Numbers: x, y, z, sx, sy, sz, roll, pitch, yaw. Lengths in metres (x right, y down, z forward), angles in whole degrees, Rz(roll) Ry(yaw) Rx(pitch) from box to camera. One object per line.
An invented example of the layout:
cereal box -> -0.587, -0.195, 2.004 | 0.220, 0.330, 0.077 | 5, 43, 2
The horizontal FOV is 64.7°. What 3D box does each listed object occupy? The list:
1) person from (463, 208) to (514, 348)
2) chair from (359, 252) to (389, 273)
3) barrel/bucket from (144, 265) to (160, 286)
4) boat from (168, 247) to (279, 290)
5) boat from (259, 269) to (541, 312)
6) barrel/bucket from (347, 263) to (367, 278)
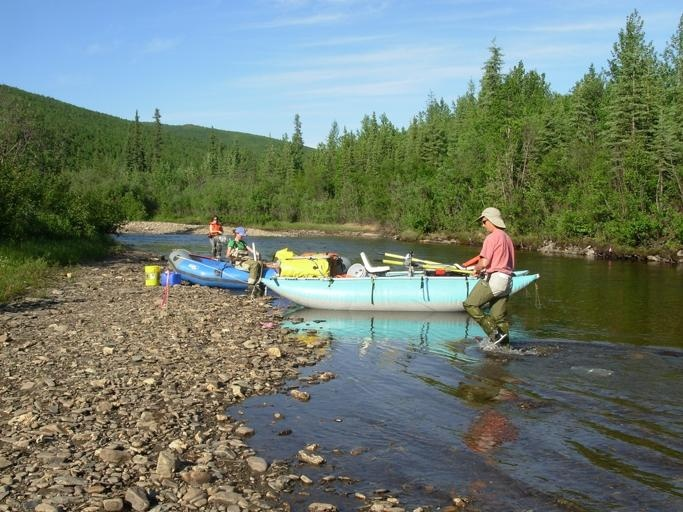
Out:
person -> 3.648, 0.546, 12.949 | 1.070, 3.370, 0.754 | 0, 9, -19
chair -> 1.112, 0.268, 18.381 | 1.006, 0.578, 0.628 | 1, -1, 4
barrel/bucket -> -7.681, 0.794, 21.988 | 0.817, 0.747, 0.747 | 1, 2, 0
boat -> -5.369, 0.629, 22.639 | 3.426, 0.888, 2.023 | 19, 5, 31
boat -> 1.609, 1.103, 17.524 | 8.503, 1.215, 1.762 | 1, 0, 6
barrel/bucket -> 0.547, 0.525, 18.691 | 0.543, 0.467, 0.216 | -13, -28, 29
